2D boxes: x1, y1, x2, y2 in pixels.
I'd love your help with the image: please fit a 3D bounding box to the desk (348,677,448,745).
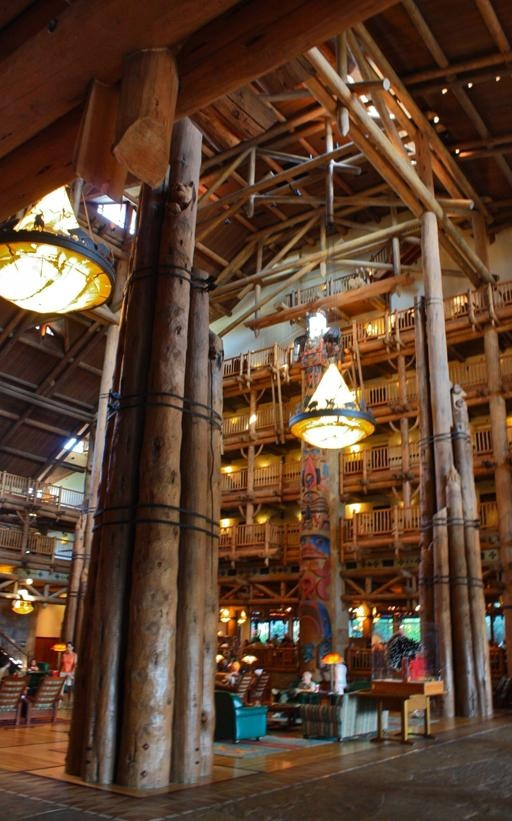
[{"bbox_3d":[1.882,3.801,7.937,0.950,0.672,1.013,-11,-24,31],"label":"desk"}]
